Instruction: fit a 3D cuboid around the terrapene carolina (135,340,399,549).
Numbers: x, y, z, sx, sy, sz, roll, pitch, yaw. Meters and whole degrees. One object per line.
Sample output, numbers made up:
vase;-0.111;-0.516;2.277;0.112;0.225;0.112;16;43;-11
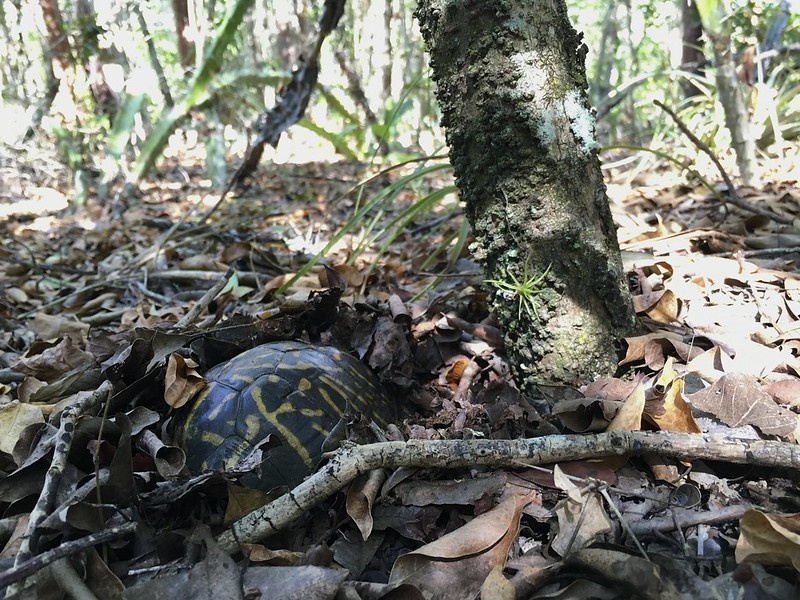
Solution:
terrapene carolina;-0.505;0.394;2.899;0.963;0.314;1.025;-3;24;7
